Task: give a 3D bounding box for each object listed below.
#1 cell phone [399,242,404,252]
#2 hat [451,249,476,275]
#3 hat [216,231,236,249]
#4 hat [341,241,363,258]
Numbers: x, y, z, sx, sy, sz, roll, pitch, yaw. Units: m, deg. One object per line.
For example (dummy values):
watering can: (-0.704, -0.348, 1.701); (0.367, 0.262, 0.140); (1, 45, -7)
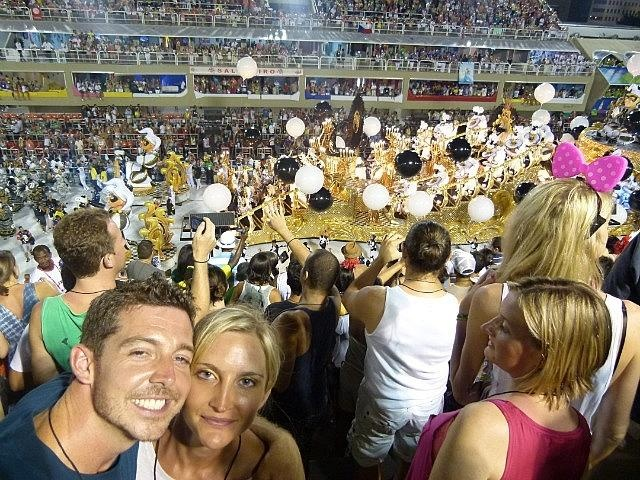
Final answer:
cell phone: (0.711, 0.055, 3.659); (0.047, 0.063, 0.068); (2, 26, 11)
hat: (1.714, 0.284, 5.104); (0.268, 0.299, 0.277); (5, 13, 18)
hat: (-1.773, -0.010, 8.079); (0.311, 0.295, 0.391); (-4, 13, -24)
hat: (0.406, 0.122, 5.500); (0.213, 0.212, 0.300); (3, 12, 6)
